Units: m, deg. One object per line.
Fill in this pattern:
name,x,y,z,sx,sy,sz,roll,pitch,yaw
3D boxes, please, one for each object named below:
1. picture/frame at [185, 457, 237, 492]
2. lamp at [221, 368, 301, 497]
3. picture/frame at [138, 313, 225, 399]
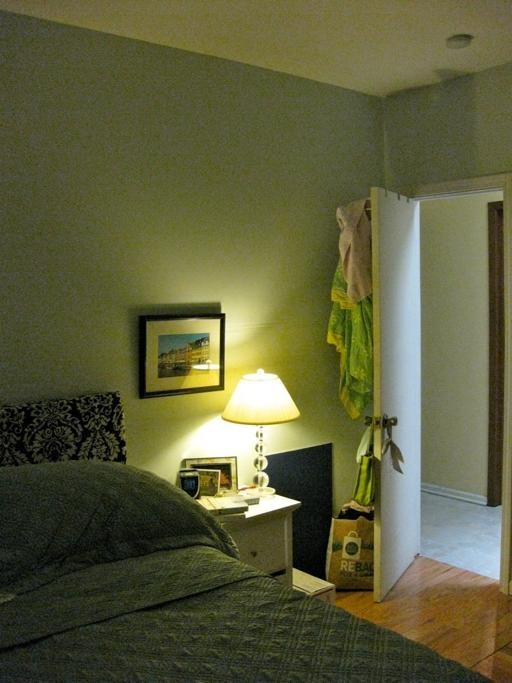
picture/frame,-0.204,0.589,2.691,0.178,0.106,0.016,1,-5,-20
lamp,0.023,0.376,2.833,0.376,0.538,0.349,-8,18,-24
picture/frame,-0.337,0.058,2.650,0.433,0.322,0.027,-1,2,-44
